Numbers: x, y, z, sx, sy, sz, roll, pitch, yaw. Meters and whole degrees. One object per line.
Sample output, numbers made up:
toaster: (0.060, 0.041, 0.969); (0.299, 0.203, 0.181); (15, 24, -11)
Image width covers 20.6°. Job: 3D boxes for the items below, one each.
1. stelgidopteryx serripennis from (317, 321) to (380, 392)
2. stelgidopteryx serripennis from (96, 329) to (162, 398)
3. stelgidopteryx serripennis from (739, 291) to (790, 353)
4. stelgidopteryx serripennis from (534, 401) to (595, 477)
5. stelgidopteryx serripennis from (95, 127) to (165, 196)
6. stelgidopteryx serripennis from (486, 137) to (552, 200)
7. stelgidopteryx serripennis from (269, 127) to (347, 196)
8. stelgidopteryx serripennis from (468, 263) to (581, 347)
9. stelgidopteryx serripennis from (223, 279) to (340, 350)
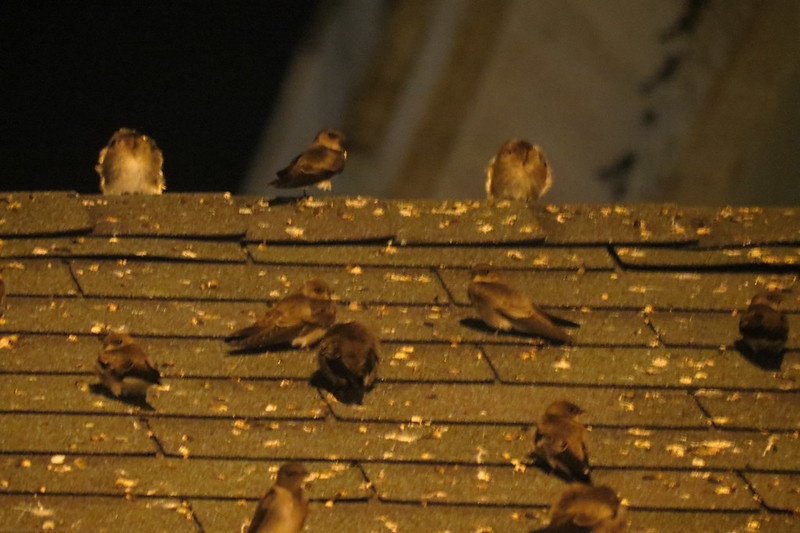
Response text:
stelgidopteryx serripennis: (-0.329, 0.493, 11.855); (0.321, 0.247, 0.381); (-2, 10, -7)
stelgidopteryx serripennis: (-1.508, 0.539, 11.941); (0.476, 0.322, 0.301); (7, -1, 39)
stelgidopteryx serripennis: (2.029, 0.309, 12.089); (0.257, 0.294, 0.347); (0, 29, 22)
stelgidopteryx serripennis: (0.850, 0.943, 11.866); (0.326, 0.354, 0.159); (-3, -12, 3)
stelgidopteryx serripennis: (-1.644, -0.594, 12.768); (0.455, 0.379, 0.112); (4, -5, -15)
stelgidopteryx serripennis: (0.642, -0.518, 12.926); (0.429, 0.340, 0.502); (5, -11, -16)
stelgidopteryx serripennis: (-0.589, -0.606, 12.546); (0.481, 0.318, 0.265); (-7, 14, -12)
stelgidopteryx serripennis: (0.643, 0.221, 12.191); (0.621, 0.289, 0.319); (13, -14, 13)
stelgidopteryx serripennis: (-0.708, 0.270, 12.044); (0.584, 0.285, 0.315); (-10, 25, -13)
